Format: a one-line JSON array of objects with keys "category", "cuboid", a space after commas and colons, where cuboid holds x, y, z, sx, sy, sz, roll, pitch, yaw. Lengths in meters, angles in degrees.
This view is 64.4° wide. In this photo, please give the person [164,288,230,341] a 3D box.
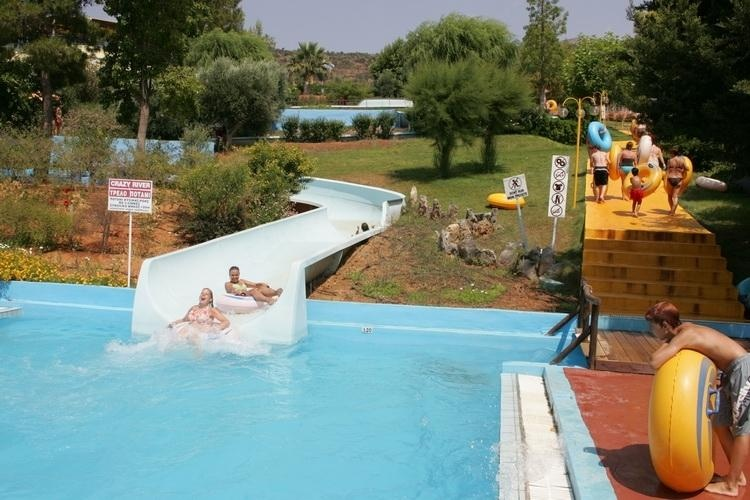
[{"category": "person", "cuboid": [-4.400, 1.591, 14.984, 1.455, 1.220, 0.453, 0, 7, -6]}]

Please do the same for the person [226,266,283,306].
[{"category": "person", "cuboid": [-3.389, 0.943, 16.327, 1.509, 0.929, 0.817, 1, 7, -1]}]

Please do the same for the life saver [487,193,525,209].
[{"category": "life saver", "cuboid": [5.340, -1.981, 24.850, 0.623, 0.580, 1.555, -2, 7, -23]}]
